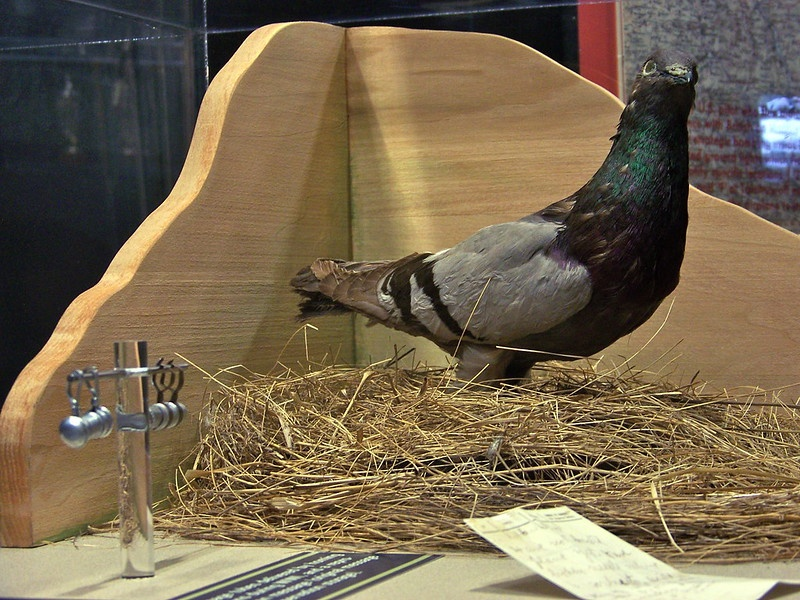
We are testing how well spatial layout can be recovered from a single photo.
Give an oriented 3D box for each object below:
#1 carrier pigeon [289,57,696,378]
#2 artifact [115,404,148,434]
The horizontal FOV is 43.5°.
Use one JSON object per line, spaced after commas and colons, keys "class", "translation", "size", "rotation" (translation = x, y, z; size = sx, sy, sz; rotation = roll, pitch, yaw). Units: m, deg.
{"class": "carrier pigeon", "translation": [0.161, -0.143, 1.799], "size": [0.642, 0.574, 0.204], "rotation": [6, 12, 30]}
{"class": "artifact", "translation": [-0.352, 0.165, 1.356], "size": [0.062, 0.031, 0.034], "rotation": [0, 4, 1]}
